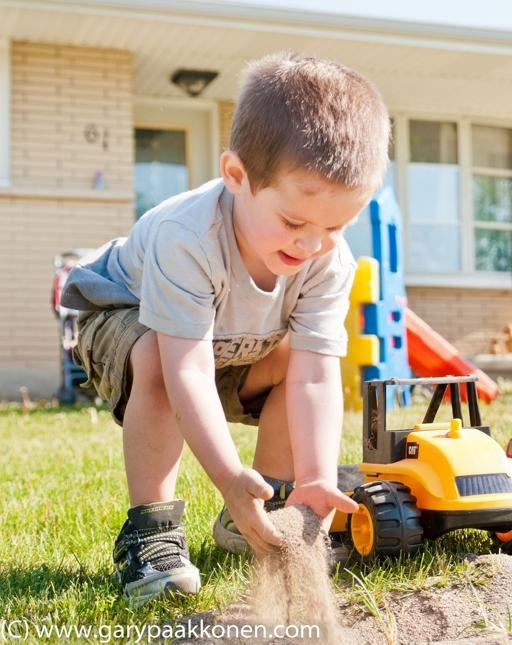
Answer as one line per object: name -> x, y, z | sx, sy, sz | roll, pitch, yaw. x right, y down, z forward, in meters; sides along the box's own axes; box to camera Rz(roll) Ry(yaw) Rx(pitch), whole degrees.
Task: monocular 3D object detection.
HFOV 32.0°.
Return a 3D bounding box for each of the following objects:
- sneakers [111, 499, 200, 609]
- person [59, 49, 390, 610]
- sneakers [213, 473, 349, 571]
sneakers -> -0.224, 0.531, 2.064 | 0.179, 0.218, 0.465 | -7, -6, -11
person -> -0.067, -0.011, 2.101 | 0.866, 1.199, 0.704 | 0, 4, 34
sneakers -> 0.047, 0.494, 2.240 | 0.142, 0.195, 0.420 | -4, 8, -28
